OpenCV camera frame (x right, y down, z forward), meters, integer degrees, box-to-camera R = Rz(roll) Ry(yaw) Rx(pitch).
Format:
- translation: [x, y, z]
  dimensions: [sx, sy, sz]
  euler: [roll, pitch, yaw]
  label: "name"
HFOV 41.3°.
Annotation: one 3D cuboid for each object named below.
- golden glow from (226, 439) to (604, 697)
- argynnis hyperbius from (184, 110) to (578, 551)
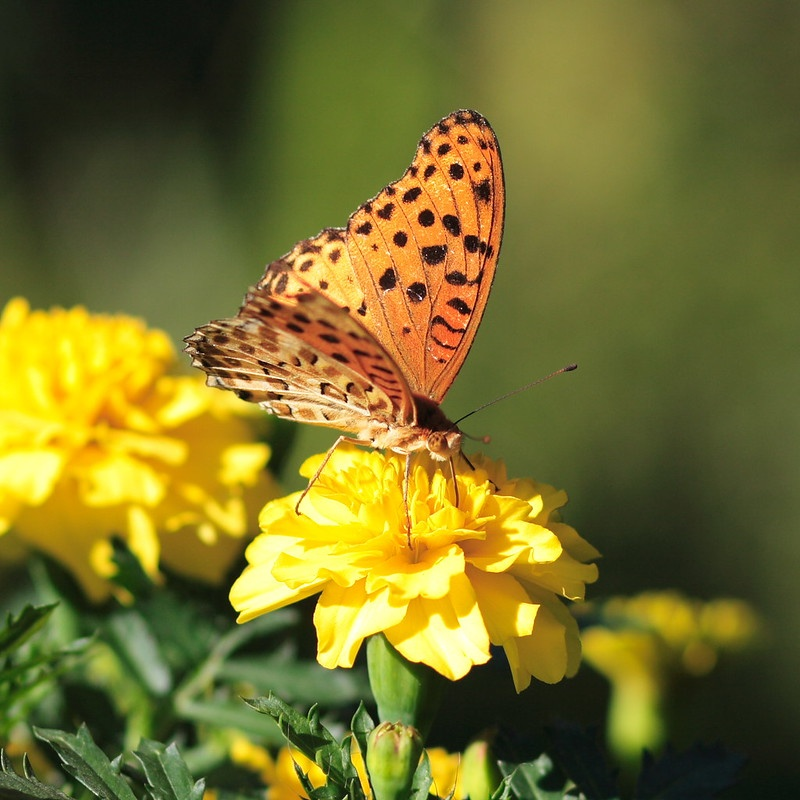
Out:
- translation: [0.023, 0.198, 1.348]
  dimensions: [0.439, 0.291, 0.289]
  euler: [10, 1, 11]
  label: "golden glow"
- translation: [-0.023, -0.150, 1.642]
  dimensions: [0.582, 0.480, 0.727]
  euler: [19, 14, 18]
  label: "argynnis hyperbius"
